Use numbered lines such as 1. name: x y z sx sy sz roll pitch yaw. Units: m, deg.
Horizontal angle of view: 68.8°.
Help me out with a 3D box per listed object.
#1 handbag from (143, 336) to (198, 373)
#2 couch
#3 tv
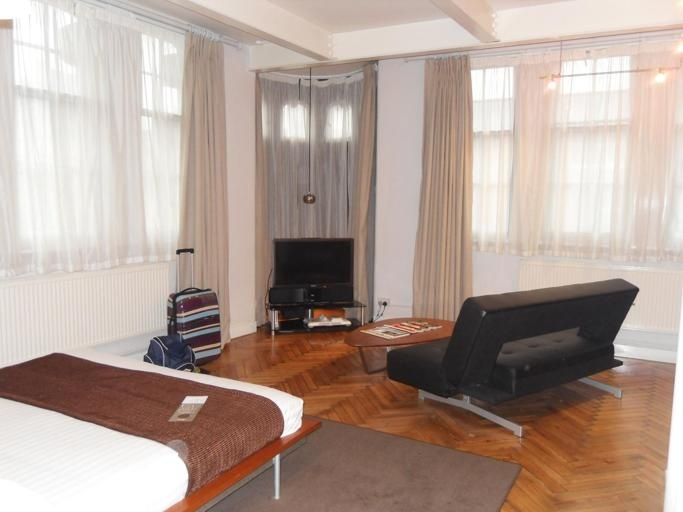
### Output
1. handbag: -1.611 0.874 4.738 0.467 0.439 0.336 -3 5 -25
2. couch: 1.398 0.598 3.887 1.689 0.819 0.696 -4 11 -22
3. tv: -0.377 0.152 6.200 0.815 0.649 0.343 -1 2 -12
